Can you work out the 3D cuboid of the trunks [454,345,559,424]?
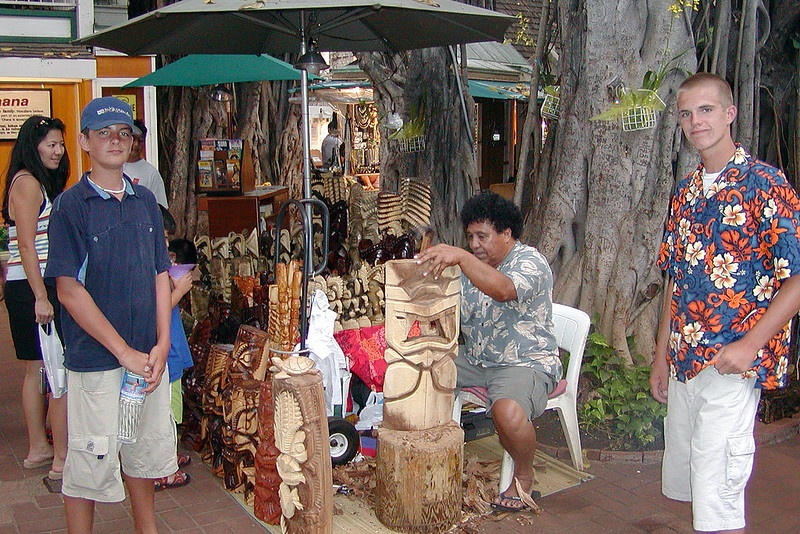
[{"bbox_3d":[0.638,0.785,4.526,0.841,0.467,0.203,8,-35,-19],"label":"trunks"}]

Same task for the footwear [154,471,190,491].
[{"bbox_3d":[-1.614,1.514,4.726,0.238,0.121,0.110,-9,16,-32],"label":"footwear"}]

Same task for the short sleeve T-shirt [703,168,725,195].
[{"bbox_3d":[1.729,-0.464,3.617,0.101,0.114,0.109,2,-4,-18],"label":"short sleeve T-shirt"}]

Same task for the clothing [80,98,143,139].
[{"bbox_3d":[-1.642,-0.831,3.737,0.261,0.143,0.195,3,9,44],"label":"clothing"}]

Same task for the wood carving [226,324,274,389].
[{"bbox_3d":[-1.057,0.604,4.639,0.294,0.439,0.279,24,18,30],"label":"wood carving"}]
